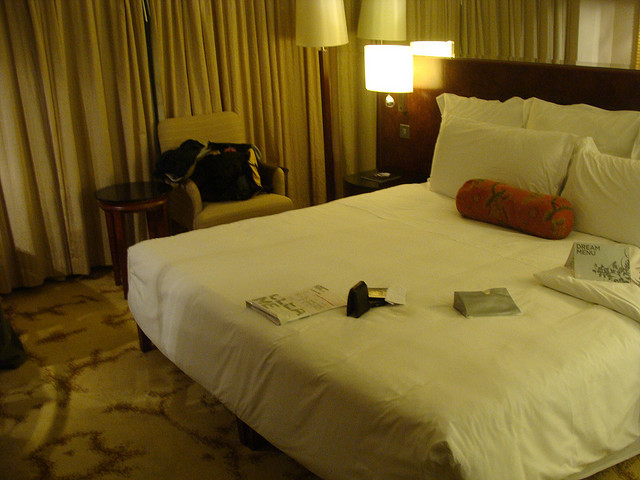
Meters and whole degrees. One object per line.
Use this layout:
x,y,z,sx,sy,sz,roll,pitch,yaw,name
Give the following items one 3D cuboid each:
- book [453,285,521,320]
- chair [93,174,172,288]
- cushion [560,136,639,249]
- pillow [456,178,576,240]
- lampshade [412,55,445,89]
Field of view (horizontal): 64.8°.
0.759,0.281,2.314,0.264,0.056,0.190,-3,24,-5,book
-1.434,-0.028,4.078,0.523,0.706,0.524,6,15,25,chair
1.623,-0.257,2.872,0.150,0.464,0.500,-4,18,-33,cushion
1.213,-0.207,3.161,0.692,0.275,0.255,23,32,38,pillow
0.936,-1.433,4.309,0.105,0.274,0.295,-13,14,-40,lampshade
